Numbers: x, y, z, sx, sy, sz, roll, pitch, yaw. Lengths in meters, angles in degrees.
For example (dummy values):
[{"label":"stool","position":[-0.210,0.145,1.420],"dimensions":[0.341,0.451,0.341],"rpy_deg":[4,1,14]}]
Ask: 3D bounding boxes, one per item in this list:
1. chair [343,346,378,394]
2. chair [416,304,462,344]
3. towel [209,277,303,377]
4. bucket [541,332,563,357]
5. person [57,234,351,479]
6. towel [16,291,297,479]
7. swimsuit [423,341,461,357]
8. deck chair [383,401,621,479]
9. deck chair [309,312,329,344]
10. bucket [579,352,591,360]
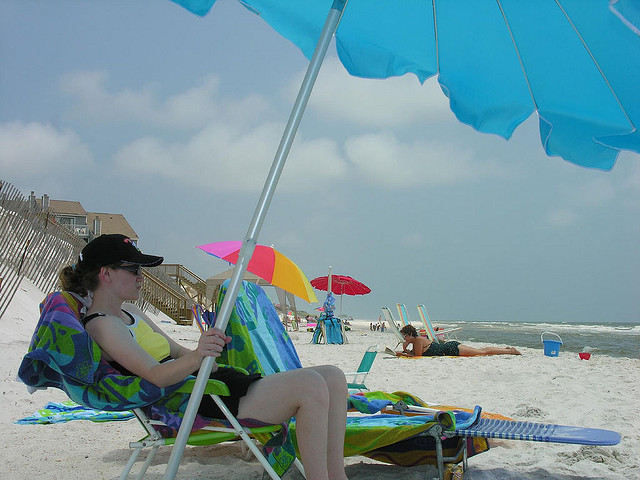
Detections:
[{"label":"chair","position":[0.422,1.545,5.458],"dimensions":[0.466,0.585,0.431],"rpy_deg":[-6,-4,5]},{"label":"chair","position":[3.930,3.046,15.999],"dimensions":[1.158,1.680,0.988],"rpy_deg":[-7,7,22]},{"label":"towel","position":[-0.522,0.760,3.895],"dimensions":[0.542,0.819,0.833],"rpy_deg":[-16,-13,26]},{"label":"bucket","position":[5.586,2.646,11.710],"dimensions":[0.347,0.413,0.620],"rpy_deg":[-4,-15,24]},{"label":"person","position":[-0.691,0.630,2.769],"dimensions":[1.634,1.301,0.583],"rpy_deg":[-2,-14,18]},{"label":"towel","position":[-0.924,0.788,3.054],"dimensions":[1.351,0.879,1.104],"rpy_deg":[4,-11,-1]},{"label":"swimsuit","position":[2.902,2.613,11.546],"dimensions":[0.630,0.259,0.364],"rpy_deg":[-3,2,15]},{"label":"deck chair","position":[1.162,1.416,3.313],"dimensions":[1.541,0.442,0.720],"rpy_deg":[-6,-16,31]},{"label":"deck chair","position":[-0.054,2.987,16.396],"dimensions":[0.704,0.966,0.342],"rpy_deg":[6,6,41]},{"label":"bucket","position":[6.125,2.716,11.253],"dimensions":[0.204,0.160,0.253],"rpy_deg":[-5,-15,27]}]
